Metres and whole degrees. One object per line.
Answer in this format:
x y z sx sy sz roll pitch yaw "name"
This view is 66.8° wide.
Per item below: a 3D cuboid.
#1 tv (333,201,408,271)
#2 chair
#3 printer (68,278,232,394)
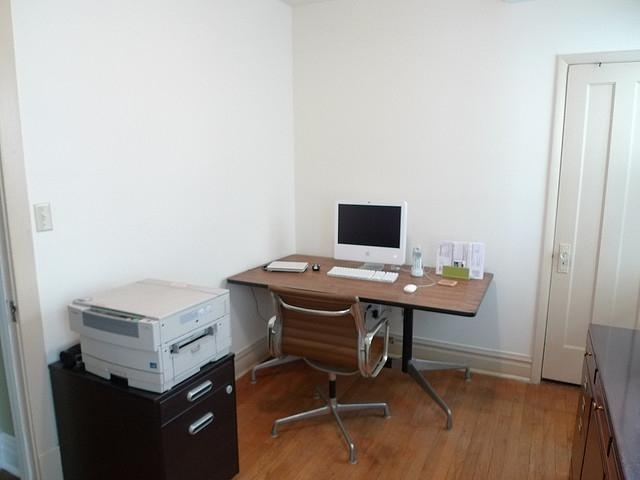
0.387 -0.048 3.717 0.443 0.461 0.164 4 7 21 "tv"
0.077 0.690 3.427 0.846 1.402 0.968 3 17 19 "chair"
-0.931 0.485 2.691 0.744 0.452 0.484 8 11 22 "printer"
